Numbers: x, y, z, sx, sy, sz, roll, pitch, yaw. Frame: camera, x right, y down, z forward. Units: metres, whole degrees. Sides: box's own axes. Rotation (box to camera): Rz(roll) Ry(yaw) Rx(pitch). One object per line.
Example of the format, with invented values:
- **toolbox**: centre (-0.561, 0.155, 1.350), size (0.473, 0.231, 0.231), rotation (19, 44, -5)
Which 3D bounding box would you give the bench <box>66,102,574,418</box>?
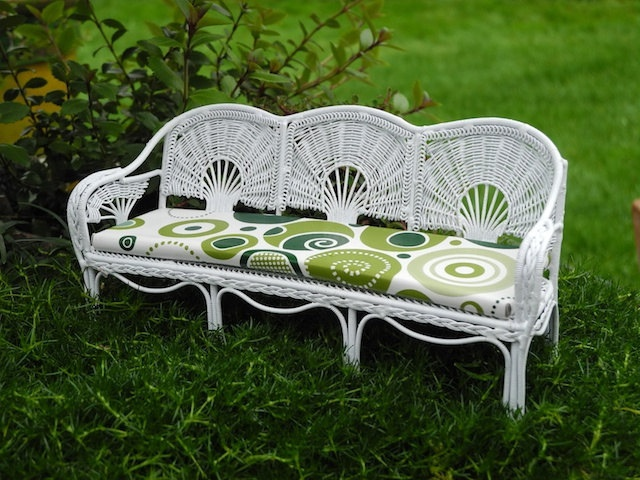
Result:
- **bench**: centre (-0.057, -0.045, 3.686), size (2.798, 1.164, 1.014), rotation (9, 26, 30)
